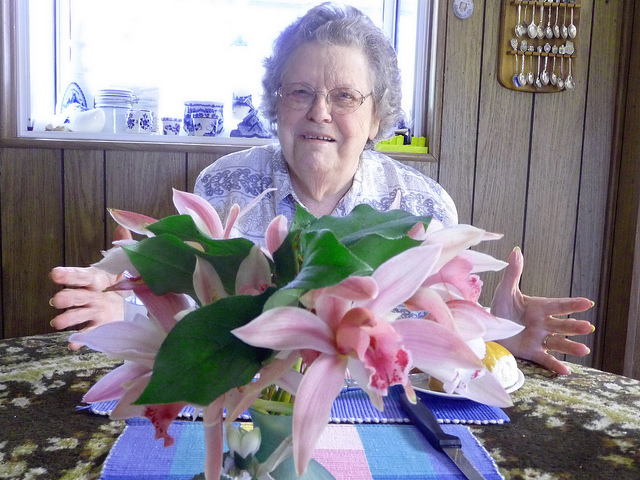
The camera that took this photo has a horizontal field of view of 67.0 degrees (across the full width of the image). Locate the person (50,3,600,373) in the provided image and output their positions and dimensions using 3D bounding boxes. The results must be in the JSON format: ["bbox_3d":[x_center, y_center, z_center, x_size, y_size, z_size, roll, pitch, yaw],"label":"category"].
[{"bbox_3d":[-0.059,-0.296,1.463,1.671,1.112,0.599,0,-5,-6],"label":"person"}]

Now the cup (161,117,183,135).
[{"bbox_3d":[-0.656,-0.505,2.140,0.075,0.062,0.074,0,7,0],"label":"cup"}]

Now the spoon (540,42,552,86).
[{"bbox_3d":[1.037,-0.817,2.253,0.039,0.191,0.028,4,17,6],"label":"spoon"}]

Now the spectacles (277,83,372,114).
[{"bbox_3d":[0.012,-0.433,1.485,0.271,0.093,0.071,1,8,1],"label":"spectacles"}]

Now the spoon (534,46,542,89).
[{"bbox_3d":[1.008,-0.804,2.256,0.036,0.187,0.028,6,14,17],"label":"spoon"}]

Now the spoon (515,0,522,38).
[{"bbox_3d":[0.884,-1.001,2.202,0.026,0.132,0.019,2,14,-1],"label":"spoon"}]

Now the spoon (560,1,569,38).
[{"bbox_3d":[1.112,-1.013,2.226,0.031,0.159,0.023,3,14,3],"label":"spoon"}]

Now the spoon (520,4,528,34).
[{"bbox_3d":[0.924,-1.004,2.209,0.026,0.132,0.019,1,13,-8],"label":"spoon"}]

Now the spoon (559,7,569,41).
[{"bbox_3d":[1.112,-1.001,2.243,0.043,0.142,0.019,1,10,-11],"label":"spoon"}]

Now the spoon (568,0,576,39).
[{"bbox_3d":[1.147,-1.019,2.241,0.033,0.167,0.024,0,8,-6],"label":"spoon"}]

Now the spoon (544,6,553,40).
[{"bbox_3d":[1.038,-0.999,2.226,0.029,0.145,0.021,9,-13,-34],"label":"spoon"}]

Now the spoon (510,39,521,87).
[{"bbox_3d":[0.890,-0.821,2.240,0.047,0.205,0.028,1,17,5],"label":"spoon"}]

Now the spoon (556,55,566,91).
[{"bbox_3d":[1.119,-0.787,2.294,0.038,0.162,0.023,1,11,-13],"label":"spoon"}]

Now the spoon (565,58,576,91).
[{"bbox_3d":[1.181,-0.783,2.299,0.045,0.150,0.021,-1,7,-18],"label":"spoon"}]

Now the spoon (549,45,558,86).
[{"bbox_3d":[1.082,-0.818,2.264,0.037,0.166,0.024,2,13,-5],"label":"spoon"}]

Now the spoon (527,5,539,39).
[{"bbox_3d":[0.963,-0.996,2.222,0.040,0.150,0.021,2,12,-11],"label":"spoon"}]

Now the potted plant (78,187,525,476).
[{"bbox_3d":[-0.071,0.076,0.705,0.502,0.338,0.500,5,-8,-12],"label":"potted plant"}]

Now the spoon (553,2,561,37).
[{"bbox_3d":[1.078,-1.013,2.223,0.029,0.148,0.021,1,12,4],"label":"spoon"}]

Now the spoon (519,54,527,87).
[{"bbox_3d":[0.933,-0.787,2.255,0.029,0.148,0.021,2,12,-2],"label":"spoon"}]

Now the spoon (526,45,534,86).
[{"bbox_3d":[0.960,-0.814,2.255,0.033,0.162,0.022,1,15,0],"label":"spoon"}]

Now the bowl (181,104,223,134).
[{"bbox_3d":[-0.518,-0.510,2.188,0.158,0.129,0.157,-3,-18,-1],"label":"bowl"}]
